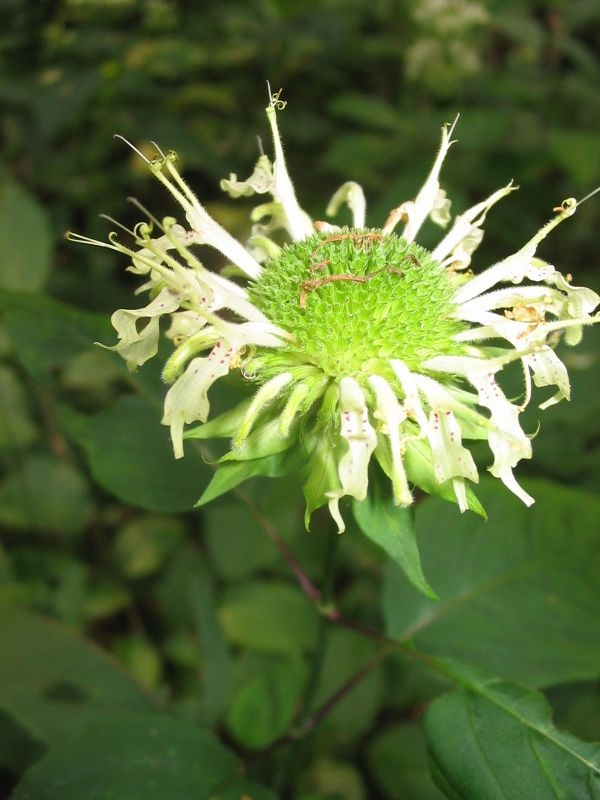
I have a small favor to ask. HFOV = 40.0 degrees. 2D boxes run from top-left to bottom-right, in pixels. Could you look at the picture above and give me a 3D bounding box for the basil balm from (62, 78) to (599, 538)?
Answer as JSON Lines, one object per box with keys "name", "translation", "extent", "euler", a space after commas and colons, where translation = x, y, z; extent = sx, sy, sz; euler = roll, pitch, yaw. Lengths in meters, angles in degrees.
{"name": "basil balm", "translation": [0.043, -0.052, 1.352], "extent": [0.885, 0.311, 0.703], "euler": [-3, 45, -10]}
